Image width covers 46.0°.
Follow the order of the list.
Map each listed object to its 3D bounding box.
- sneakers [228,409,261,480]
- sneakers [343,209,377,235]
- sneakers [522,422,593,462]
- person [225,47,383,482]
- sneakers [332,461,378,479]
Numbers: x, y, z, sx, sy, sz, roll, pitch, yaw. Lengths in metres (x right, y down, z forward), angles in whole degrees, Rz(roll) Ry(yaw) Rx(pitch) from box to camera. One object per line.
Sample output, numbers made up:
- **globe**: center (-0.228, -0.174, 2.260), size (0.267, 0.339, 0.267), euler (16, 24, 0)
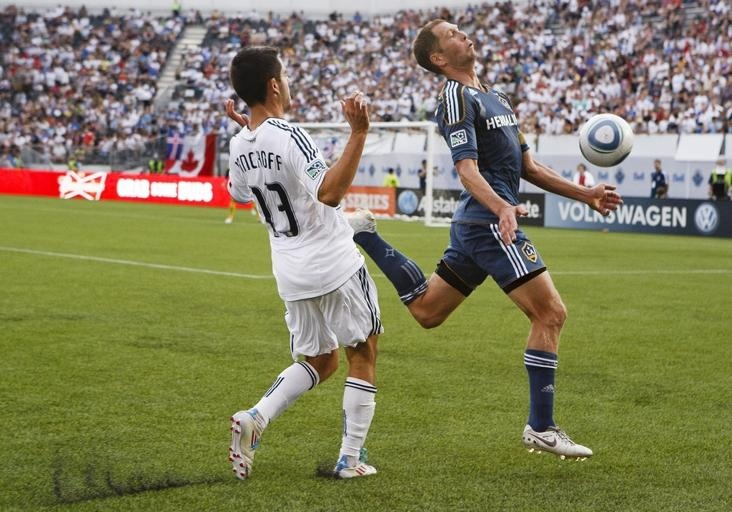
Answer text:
- **sneakers**: center (-0.871, 1.254, 5.953), size (0.168, 0.514, 0.271), euler (1, -4, 27)
- **sneakers**: center (-0.046, -0.256, 6.648), size (0.232, 0.158, 0.095), euler (1, -17, -19)
- **sneakers**: center (1.347, 1.328, 6.184), size (0.554, 0.269, 0.207), euler (8, -12, 2)
- **person**: center (-0.429, 0.023, 6.124), size (1.063, 2.910, 0.917), euler (0, 11, -7)
- **sneakers**: center (-0.085, 1.497, 6.092), size (0.317, 0.146, 0.119), euler (-1, 3, -16)
